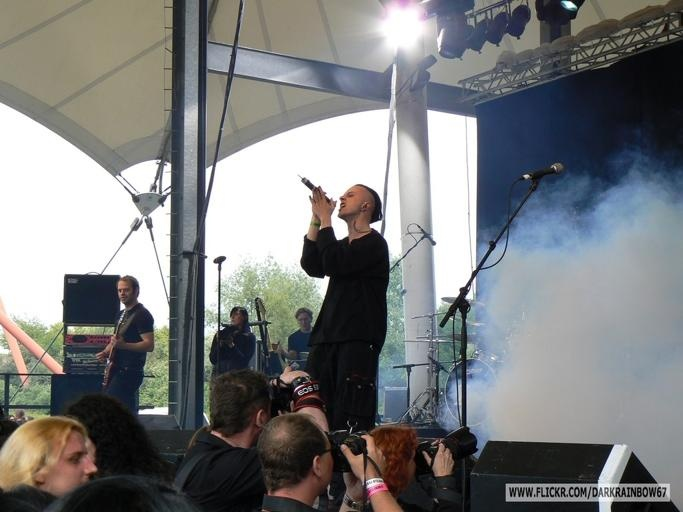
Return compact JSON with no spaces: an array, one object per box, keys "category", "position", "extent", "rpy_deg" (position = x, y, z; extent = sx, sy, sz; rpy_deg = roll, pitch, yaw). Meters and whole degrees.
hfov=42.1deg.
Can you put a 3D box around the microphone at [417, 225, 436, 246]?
[{"category":"microphone","position":[1.042,-0.251,10.958],"extent":[0.247,0.101,0.253],"rpy_deg":[31,9,-31]}]

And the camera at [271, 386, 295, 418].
[{"category":"camera","position":[-0.406,0.965,5.887],"extent":[0.177,0.189,0.078],"rpy_deg":[4,-1,-2]}]

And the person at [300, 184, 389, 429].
[{"category":"person","position":[0.078,0.421,6.659],"extent":[0.524,1.989,0.633],"rpy_deg":[4,-5,-42]}]

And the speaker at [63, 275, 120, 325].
[{"category":"speaker","position":[-2.649,0.492,9.291],"extent":[0.537,0.517,0.312],"rpy_deg":[1,-19,-17]}]

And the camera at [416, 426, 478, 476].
[{"category":"camera","position":[0.671,1.238,5.749],"extent":[0.387,0.178,0.227],"rpy_deg":[-3,5,-22]}]

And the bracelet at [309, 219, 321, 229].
[{"category":"bracelet","position":[-0.197,-0.239,6.626],"extent":[0.059,0.046,0.058],"rpy_deg":[11,-13,-38]}]

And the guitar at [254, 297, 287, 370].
[{"category":"guitar","position":[-0.861,0.921,10.287],"extent":[0.281,0.880,0.326],"rpy_deg":[0,1,-30]}]

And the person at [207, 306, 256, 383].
[{"category":"person","position":[-1.223,0.985,10.200],"extent":[0.467,1.096,0.436],"rpy_deg":[1,3,40]}]
